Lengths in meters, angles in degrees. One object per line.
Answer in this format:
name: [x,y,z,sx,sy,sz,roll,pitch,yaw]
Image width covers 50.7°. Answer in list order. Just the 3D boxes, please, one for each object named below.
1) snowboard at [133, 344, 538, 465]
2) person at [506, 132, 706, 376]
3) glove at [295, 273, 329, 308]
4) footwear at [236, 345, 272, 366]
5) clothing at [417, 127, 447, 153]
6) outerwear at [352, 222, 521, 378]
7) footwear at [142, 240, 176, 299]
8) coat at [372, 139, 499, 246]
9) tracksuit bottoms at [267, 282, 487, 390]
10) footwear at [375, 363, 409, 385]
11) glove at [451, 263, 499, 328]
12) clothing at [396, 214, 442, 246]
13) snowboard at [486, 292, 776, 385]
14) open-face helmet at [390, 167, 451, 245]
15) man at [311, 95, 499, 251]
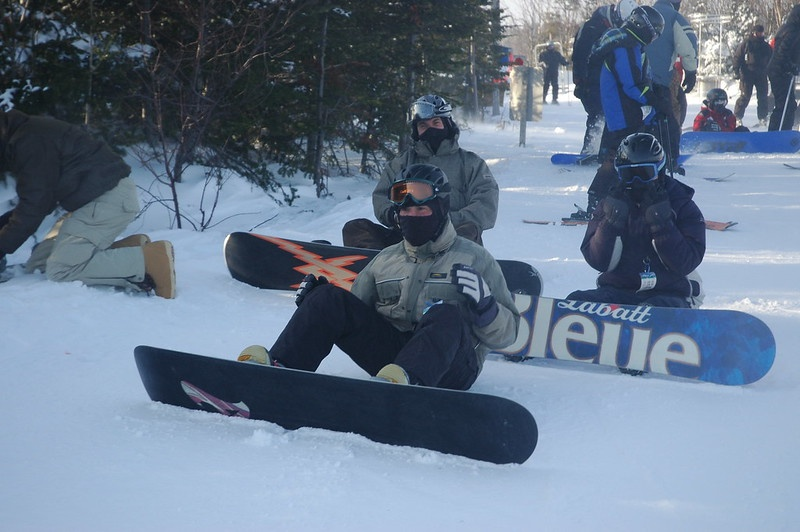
snowboard: [-0.524,1.017,6.078,2.707,0.583,0.283,8,23,8]
person: [2.017,-0.243,7.327,1.952,1.889,1.149,-6,8,-44]
glove: [-0.662,0.195,6.524,0.235,0.241,0.107,17,-7,42]
footwear: [-1.053,0.647,6.154,0.139,0.076,0.197,5,6,-1]
clothing: [0.319,-1.232,8.180,0.210,0.181,0.227,-2,25,5]
outerwear: [0.285,0.303,6.563,1.126,0.973,0.684,11,7,27]
footwear: [-2.278,0.003,8.173,0.216,0.653,0.291,-6,12,4]
coat: [0.391,-0.764,8.560,1.239,1.120,0.919,-18,26,-41]
tracksuit bottoms: [-0.134,0.537,6.438,1.394,0.632,1.789,3,-3,17]
footwear: [-0.056,0.773,5.999,0.245,0.120,0.168,-2,13,-2]
glove: [0.567,0.207,6.252,0.144,0.440,0.335,-33,36,-8]
clothing: [0.162,-0.285,6.490,0.235,0.143,0.255,1,6,17]
snowboard: [1.879,0.616,7.275,0.264,0.582,2.664,13,-6,-39]
open-face helmet: [0.159,-0.474,6.684,0.506,0.634,0.497,-13,-11,42]
man: [0.245,-0.844,8.277,1.382,1.718,1.288,2,1,21]
